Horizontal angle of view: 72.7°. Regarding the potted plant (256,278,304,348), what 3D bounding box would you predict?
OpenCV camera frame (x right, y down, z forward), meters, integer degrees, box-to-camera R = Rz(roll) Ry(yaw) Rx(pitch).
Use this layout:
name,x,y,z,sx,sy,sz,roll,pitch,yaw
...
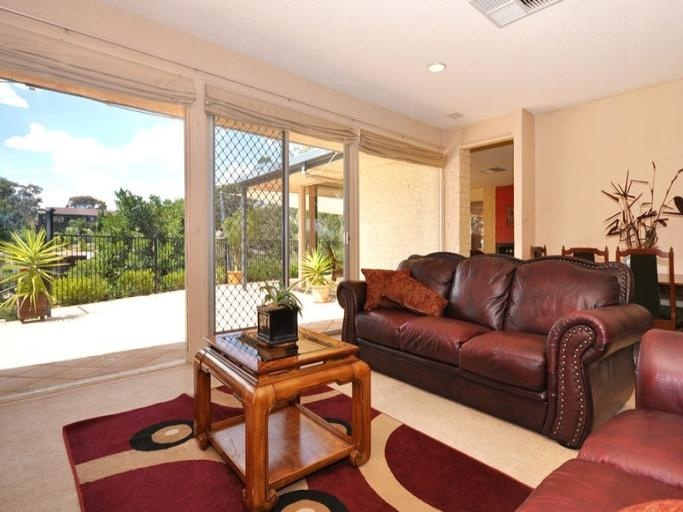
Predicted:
name,x,y,z,sx,sy,sz,roll,pitch,yaw
potted plant,-0.463,0.405,3.412,0.386,0.429,0.362,-1,-1,35

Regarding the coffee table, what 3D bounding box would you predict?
name,x,y,z,sx,sy,sz,roll,pitch,yaw
coffee table,-0.462,0.960,3.317,1.053,0.920,1.036,0,0,-37

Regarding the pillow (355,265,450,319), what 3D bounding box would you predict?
name,x,y,z,sx,sy,sz,roll,pitch,yaw
pillow,0.626,0.355,4.547,0.524,0.170,0.475,17,41,26

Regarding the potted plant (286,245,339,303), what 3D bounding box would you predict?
name,x,y,z,sx,sy,sz,roll,pitch,yaw
potted plant,-0.449,0.270,9.028,0.866,1.256,0.829,1,1,32
